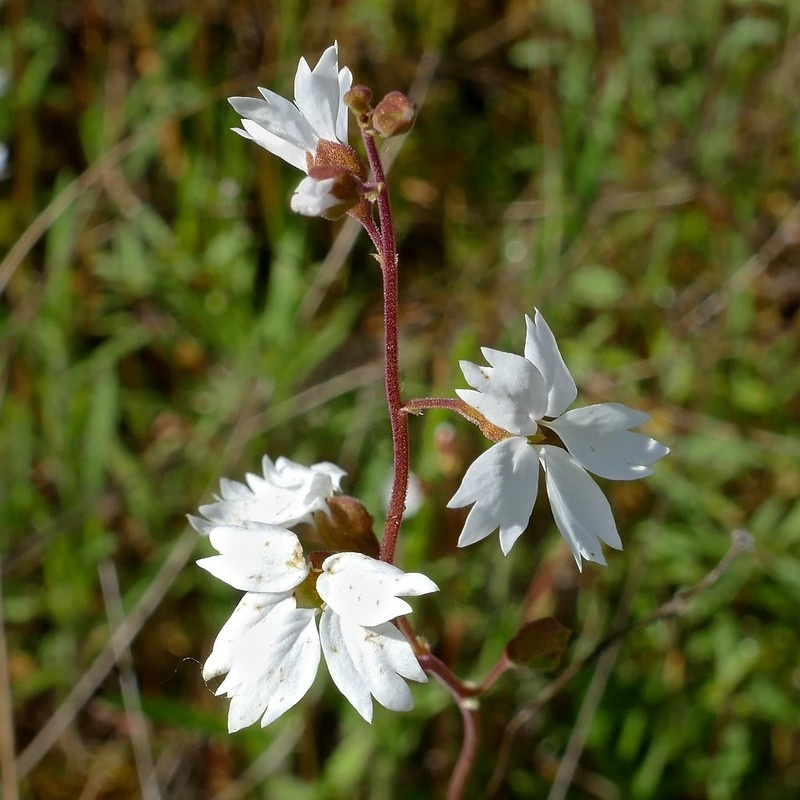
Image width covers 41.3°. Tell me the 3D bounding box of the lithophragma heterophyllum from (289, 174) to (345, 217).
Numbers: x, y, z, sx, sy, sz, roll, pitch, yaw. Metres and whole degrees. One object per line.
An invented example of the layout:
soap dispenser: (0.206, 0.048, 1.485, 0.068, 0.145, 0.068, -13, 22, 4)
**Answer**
lithophragma heterophyllum: (-0.122, -0.308, 1.616, 0.078, 0.032, 0.061, 12, 80, 9)
